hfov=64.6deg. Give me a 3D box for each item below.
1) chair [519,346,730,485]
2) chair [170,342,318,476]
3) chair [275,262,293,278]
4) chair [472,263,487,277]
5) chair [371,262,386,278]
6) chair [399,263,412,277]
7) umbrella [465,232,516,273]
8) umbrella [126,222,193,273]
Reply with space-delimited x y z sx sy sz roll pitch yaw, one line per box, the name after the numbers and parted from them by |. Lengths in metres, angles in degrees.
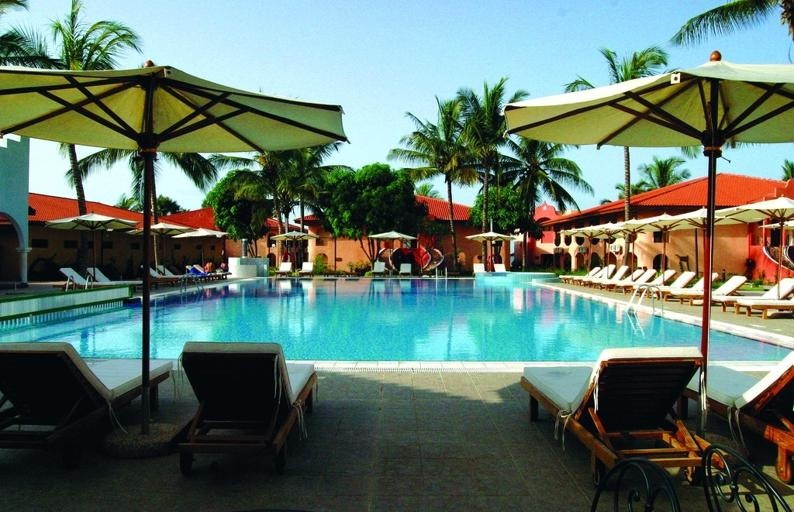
3.281 2.082 9.253 1.463 1.175 2.632 0 3 -4 | chair
-2.231 2.097 9.262 1.679 1.858 1.187 -1 6 2 | chair
-6.078 0.710 34.354 0.656 0.703 0.945 0 -5 4 | chair
4.467 0.735 33.001 0.667 0.906 0.670 1 -11 -3 | chair
-0.971 0.773 35.460 0.661 0.870 0.907 3 -6 4 | chair
0.467 0.761 35.289 0.692 0.614 0.559 0 6 14 | chair
5.291 -0.259 35.414 2.364 2.073 2.364 1 0 -43 | umbrella
-10.516 -0.343 27.745 2.559 2.365 2.603 -2 -5 21 | umbrella
